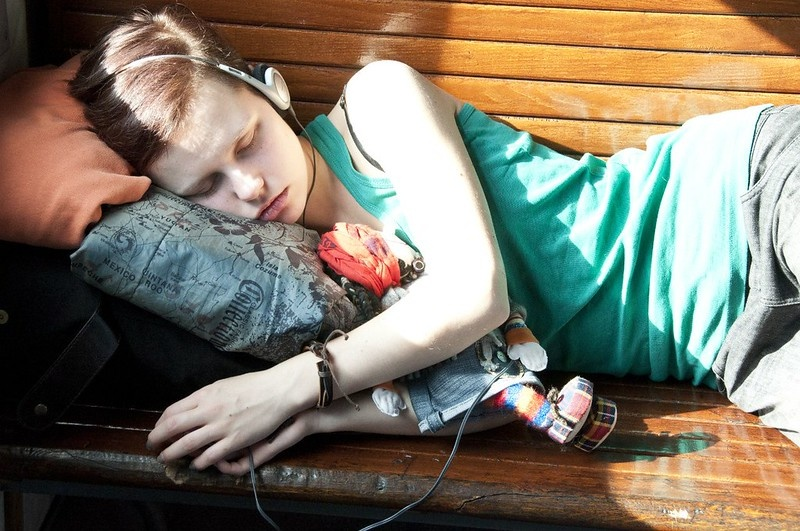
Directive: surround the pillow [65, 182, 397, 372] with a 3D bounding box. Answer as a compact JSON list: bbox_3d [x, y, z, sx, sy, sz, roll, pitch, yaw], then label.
[{"bbox_3d":[-0.399,0.003,1.630,0.595,0.206,0.336,25,53,1],"label":"pillow"}]
